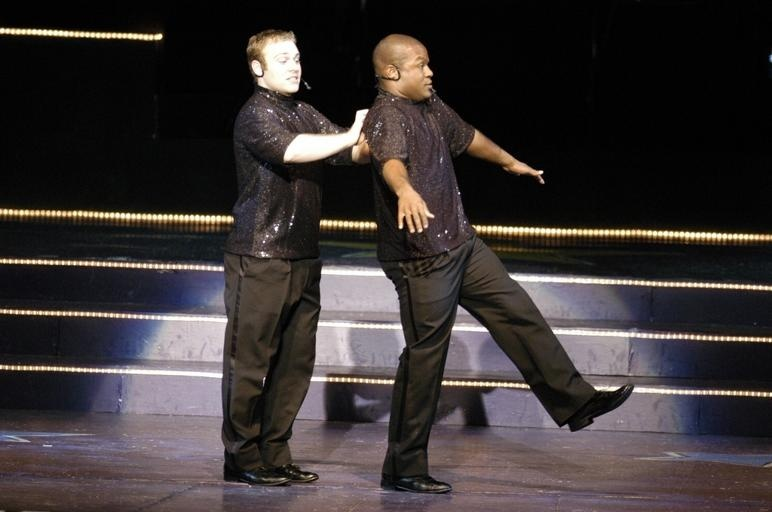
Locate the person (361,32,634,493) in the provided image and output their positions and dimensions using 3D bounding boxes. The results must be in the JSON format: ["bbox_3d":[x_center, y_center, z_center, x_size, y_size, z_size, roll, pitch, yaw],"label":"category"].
[{"bbox_3d":[0.502,0.077,5.523,1.192,2.337,1.275,-2,27,-15],"label":"person"}]

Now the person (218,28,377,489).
[{"bbox_3d":[-0.559,0.008,5.480,0.624,2.258,1.206,1,26,-8],"label":"person"}]

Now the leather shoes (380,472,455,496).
[{"bbox_3d":[0.163,1.219,5.440,0.390,0.093,0.123,-1,-3,10],"label":"leather shoes"}]

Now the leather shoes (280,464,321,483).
[{"bbox_3d":[-0.468,1.182,5.512,0.228,0.073,0.079,1,5,12],"label":"leather shoes"}]

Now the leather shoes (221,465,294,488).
[{"bbox_3d":[-0.701,1.198,5.513,0.389,0.115,0.118,-1,-5,6],"label":"leather shoes"}]
